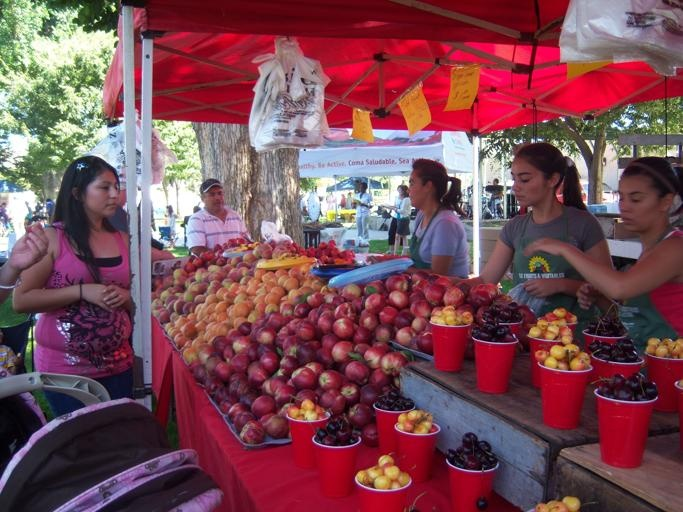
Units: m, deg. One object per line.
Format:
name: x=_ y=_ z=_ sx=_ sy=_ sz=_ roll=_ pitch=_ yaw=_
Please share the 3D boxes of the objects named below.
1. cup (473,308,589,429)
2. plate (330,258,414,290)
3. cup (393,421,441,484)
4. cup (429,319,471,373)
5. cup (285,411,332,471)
cup: x=0.677 y=0.363 z=1.632 sx=0.264 sy=0.347 sz=0.318 roll=-2 pitch=7 yaw=-25
plate: x=0.159 y=0.072 z=2.882 sx=0.342 sy=0.164 sz=0.474 roll=0 pitch=11 yaw=-15
cup: x=0.260 y=0.675 z=1.764 sx=0.175 sy=0.201 sz=0.202 roll=1 pitch=12 yaw=3
cup: x=0.445 y=0.338 z=1.985 sx=0.174 sy=0.192 sz=0.183 roll=3 pitch=10 yaw=-1
cup: x=-0.118 y=0.700 z=1.934 sx=0.173 sy=0.233 sz=0.154 roll=-2 pitch=5 yaw=-40
